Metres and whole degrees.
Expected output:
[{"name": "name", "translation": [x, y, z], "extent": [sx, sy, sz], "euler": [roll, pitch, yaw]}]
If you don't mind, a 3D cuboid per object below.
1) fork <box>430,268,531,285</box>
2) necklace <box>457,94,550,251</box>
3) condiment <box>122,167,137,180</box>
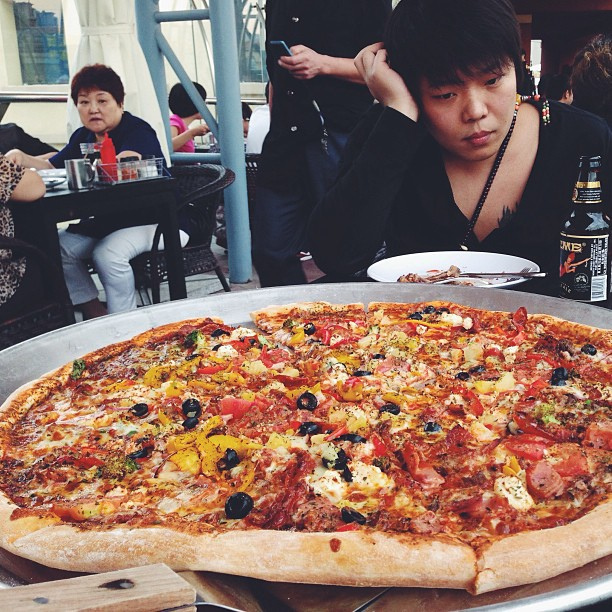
[{"name": "fork", "translation": [0.747, -0.123, 2.681], "extent": [0.616, 0.070, 0.059], "euler": [-1, 30, 12]}, {"name": "necklace", "translation": [0.988, -0.665, 3.185], "extent": [0.685, 0.770, 0.291], "euler": [-16, 23, -34]}, {"name": "condiment", "translation": [-1.359, -1.011, 4.819], "extent": [0.080, 0.072, 0.100], "euler": [2, 4, 14]}]
